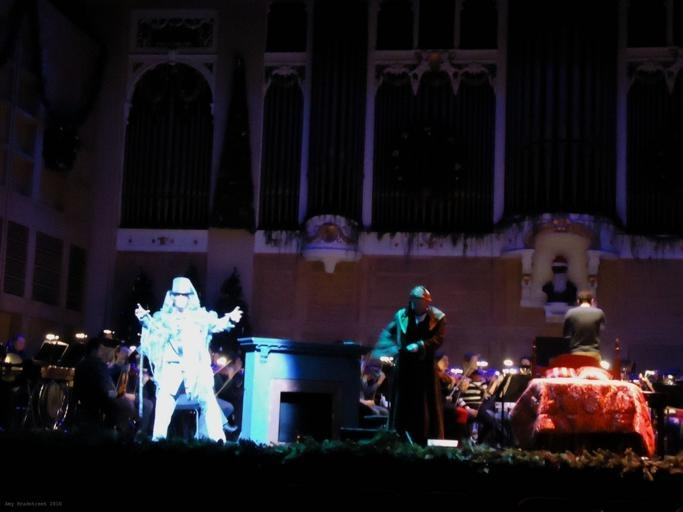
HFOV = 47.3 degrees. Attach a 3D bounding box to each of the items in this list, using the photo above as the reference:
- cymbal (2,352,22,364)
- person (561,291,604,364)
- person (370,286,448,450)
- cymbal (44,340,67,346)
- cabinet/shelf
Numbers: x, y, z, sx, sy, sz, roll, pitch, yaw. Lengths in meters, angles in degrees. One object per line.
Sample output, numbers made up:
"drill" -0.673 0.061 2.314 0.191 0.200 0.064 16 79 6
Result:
"cymbal" -4.605 1.432 10.928 0.190 0.083 0.187 9 5 -28
"person" 2.716 0.785 8.810 0.425 0.727 1.027 4 13 17
"person" 0.698 1.166 8.352 0.793 1.658 0.681 -1 13 -7
"cymbal" -3.944 1.198 10.749 0.260 0.078 0.291 -2 -8 34
"cabinet/shelf" -0.364 1.603 8.675 1.267 1.306 0.633 2 2 1
